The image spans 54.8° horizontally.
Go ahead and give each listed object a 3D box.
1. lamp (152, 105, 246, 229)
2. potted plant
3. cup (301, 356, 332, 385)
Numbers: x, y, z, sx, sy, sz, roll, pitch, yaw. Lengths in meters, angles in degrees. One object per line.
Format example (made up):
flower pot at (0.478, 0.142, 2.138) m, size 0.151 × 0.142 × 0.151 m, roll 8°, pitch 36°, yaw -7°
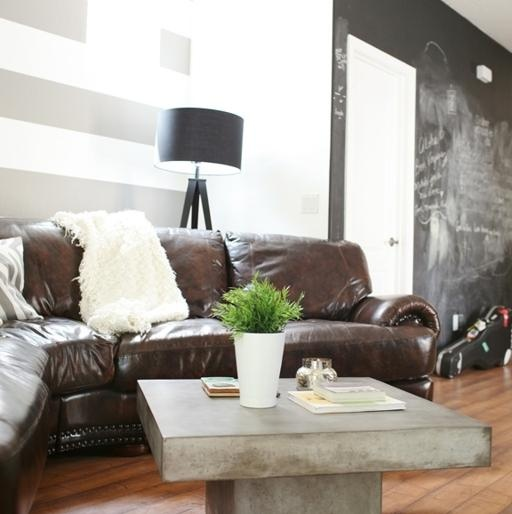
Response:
lamp at (-0.373, -0.552, 3.195) m, size 0.539 × 0.726 × 0.515 m, roll 2°, pitch 2°, yaw -11°
potted plant at (-0.021, 0.172, 1.221) m, size 0.214 × 0.366 × 0.251 m, roll 1°, pitch 2°, yaw -10°
cup at (0.162, 0.301, 1.324) m, size 0.067 × 0.061 × 0.067 m, roll 2°, pitch -9°, yaw 0°
